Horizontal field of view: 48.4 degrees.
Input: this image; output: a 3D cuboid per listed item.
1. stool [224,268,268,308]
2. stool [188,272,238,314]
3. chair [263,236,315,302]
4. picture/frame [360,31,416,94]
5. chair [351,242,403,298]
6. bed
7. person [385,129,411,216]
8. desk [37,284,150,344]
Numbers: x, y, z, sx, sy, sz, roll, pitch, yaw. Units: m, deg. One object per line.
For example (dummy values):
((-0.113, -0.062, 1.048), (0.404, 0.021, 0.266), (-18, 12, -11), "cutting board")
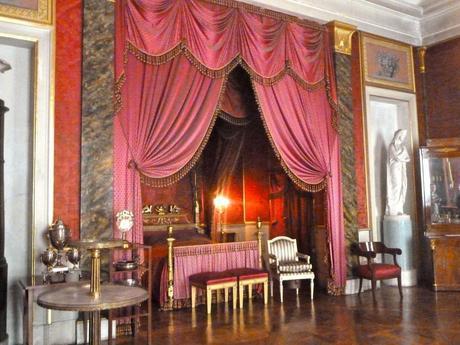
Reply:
((0.162, 1.812, 8.165), (0.815, 0.525, 0.783), (1, -5, -19), "stool")
((-0.194, 1.810, 7.930), (0.785, 0.551, 0.592), (-2, 4, -23), "stool")
((1.006, 1.590, 8.464), (0.681, 0.948, 0.788), (-1, 4, -9), "chair")
((2.879, -2.047, 9.504), (1.383, 0.805, 0.065), (3, -6, -31), "picture/frame")
((2.488, 1.607, 8.564), (0.836, 0.830, 0.889), (-1, 4, -10), "chair")
((-0.772, 1.387, 9.485), (1.779, 1.600, 2.786), (-1, -5, -28), "bed")
((3.072, -0.008, 9.395), (0.387, 1.571, 0.369), (1, 4, 17), "person")
((-1.463, 1.329, 5.407), (0.941, 0.515, 0.892), (2, -3, -15), "desk")
